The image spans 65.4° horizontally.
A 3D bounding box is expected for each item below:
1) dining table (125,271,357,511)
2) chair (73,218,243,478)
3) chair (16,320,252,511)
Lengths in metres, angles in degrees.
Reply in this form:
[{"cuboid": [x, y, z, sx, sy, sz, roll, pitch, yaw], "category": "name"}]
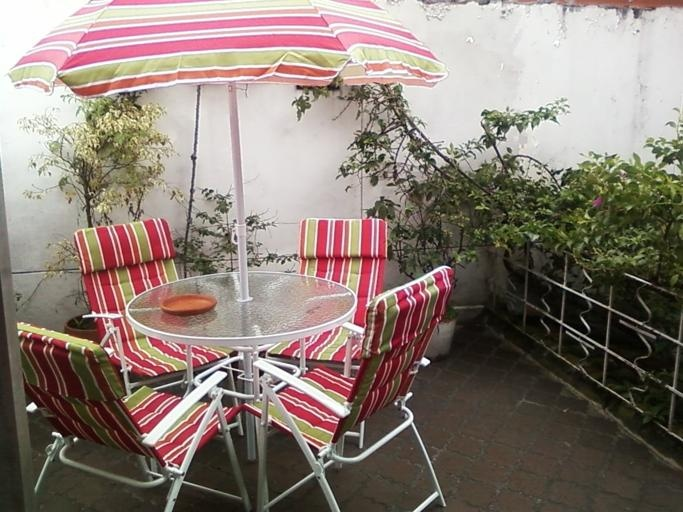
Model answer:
[{"cuboid": [-0.558, 0.663, 3.286, 1.092, 0.600, 1.009, 2, 23, 2], "category": "dining table"}, {"cuboid": [-1.307, 0.444, 3.781, 1.109, 1.195, 0.884, 12, 19, 31], "category": "chair"}, {"cuboid": [-1.044, 0.725, 2.537, 0.981, 0.942, 0.502, -8, 14, -16], "category": "chair"}]
